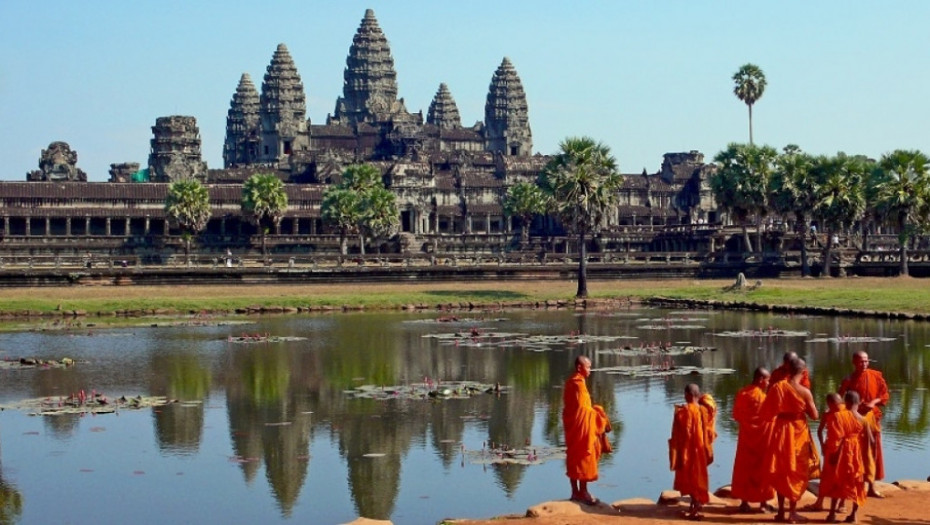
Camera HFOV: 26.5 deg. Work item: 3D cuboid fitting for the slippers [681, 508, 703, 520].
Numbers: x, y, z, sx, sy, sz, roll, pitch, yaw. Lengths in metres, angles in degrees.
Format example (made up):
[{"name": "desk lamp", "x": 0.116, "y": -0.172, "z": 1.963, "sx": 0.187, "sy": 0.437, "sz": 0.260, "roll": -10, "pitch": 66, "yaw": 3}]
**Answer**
[{"name": "slippers", "x": 12.367, "y": 13.620, "z": 107.415, "sx": 1.004, "sy": 0.345, "sz": 0.494, "roll": -5, "pitch": 11, "yaw": -16}]
